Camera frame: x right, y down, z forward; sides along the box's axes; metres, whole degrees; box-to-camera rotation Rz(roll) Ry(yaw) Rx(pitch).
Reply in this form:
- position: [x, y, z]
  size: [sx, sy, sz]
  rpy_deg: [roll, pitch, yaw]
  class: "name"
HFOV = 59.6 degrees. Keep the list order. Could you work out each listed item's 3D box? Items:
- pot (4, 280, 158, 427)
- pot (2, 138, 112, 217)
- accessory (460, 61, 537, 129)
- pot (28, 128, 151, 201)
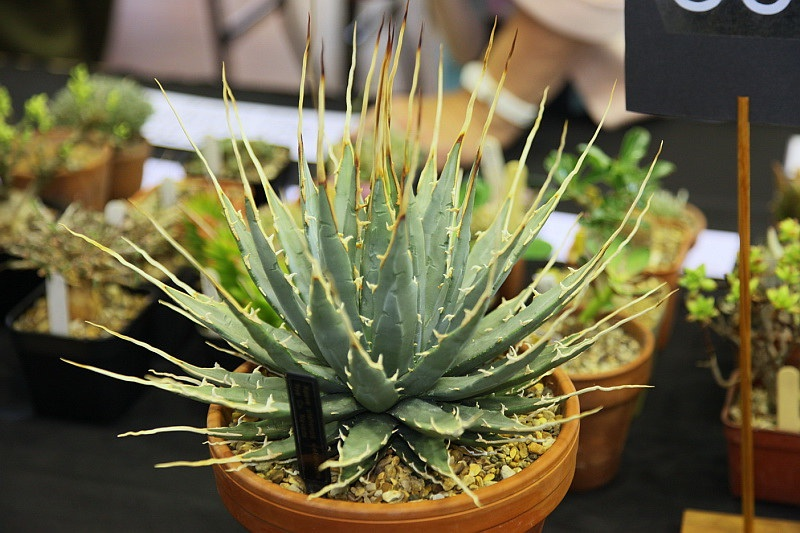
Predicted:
- position: [-1.082, 0.327, 2.484]
  size: [0.487, 0.370, 0.414]
  rpy_deg: [9, 13, 13]
  class: "pot"
- position: [-1.402, -0.353, 2.962]
  size: [0.357, 0.288, 0.381]
  rpy_deg: [-3, 29, 2]
  class: "pot"
- position: [0.543, -0.929, 3.861]
  size: [0.445, 0.325, 0.380]
  rpy_deg: [8, 27, 5]
  class: "accessory"
- position: [-1.327, -0.399, 3.200]
  size: [0.403, 0.358, 0.466]
  rpy_deg: [-7, 27, -14]
  class: "pot"
